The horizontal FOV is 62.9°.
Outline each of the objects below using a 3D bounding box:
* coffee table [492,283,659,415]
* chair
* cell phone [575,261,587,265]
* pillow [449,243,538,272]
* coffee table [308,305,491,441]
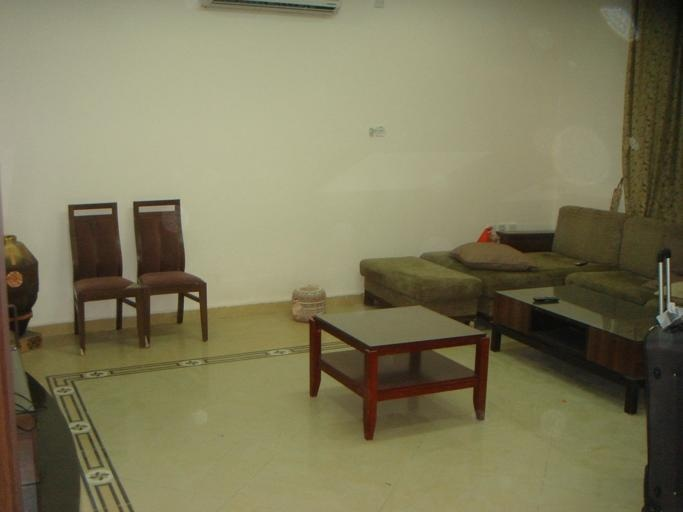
[{"bbox_3d":[1.713,0.464,3.784,0.700,0.383,1.074,-6,14,-24],"label":"coffee table"},{"bbox_3d":[-1.644,0.183,4.400,1.065,1.103,0.739,-5,11,-26],"label":"chair"},{"bbox_3d":[2.106,0.069,4.901,0.067,0.017,0.048,-8,8,-40],"label":"cell phone"},{"bbox_3d":[1.309,0.016,4.743,0.351,0.114,0.383,-2,12,-16],"label":"pillow"},{"bbox_3d":[0.278,0.560,3.205,0.756,0.463,0.772,-6,18,-24],"label":"coffee table"}]
